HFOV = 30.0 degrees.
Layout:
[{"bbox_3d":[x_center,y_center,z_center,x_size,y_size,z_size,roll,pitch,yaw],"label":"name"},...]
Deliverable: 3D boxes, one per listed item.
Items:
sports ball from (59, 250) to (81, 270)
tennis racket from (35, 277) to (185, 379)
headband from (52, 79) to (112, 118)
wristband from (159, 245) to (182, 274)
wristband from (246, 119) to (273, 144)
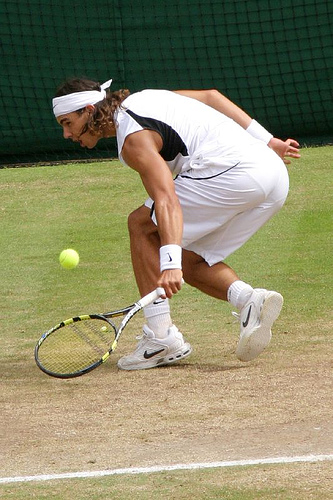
[{"bbox_3d":[-0.543,0.052,3.528,0.122,0.097,0.103,0,33,8],"label":"sports ball"},{"bbox_3d":[-0.235,0.313,2.910,0.820,0.277,0.065,-33,-1,-34],"label":"tennis racket"},{"bbox_3d":[-0.387,-0.639,2.718,0.215,0.095,0.082,-6,13,-3],"label":"headband"},{"bbox_3d":[0.011,0.033,2.342,0.085,0.109,0.080,-8,14,0],"label":"wristband"},{"bbox_3d":[0.447,-0.583,3.120,0.163,0.083,0.068,30,-20,-27],"label":"wristband"}]
